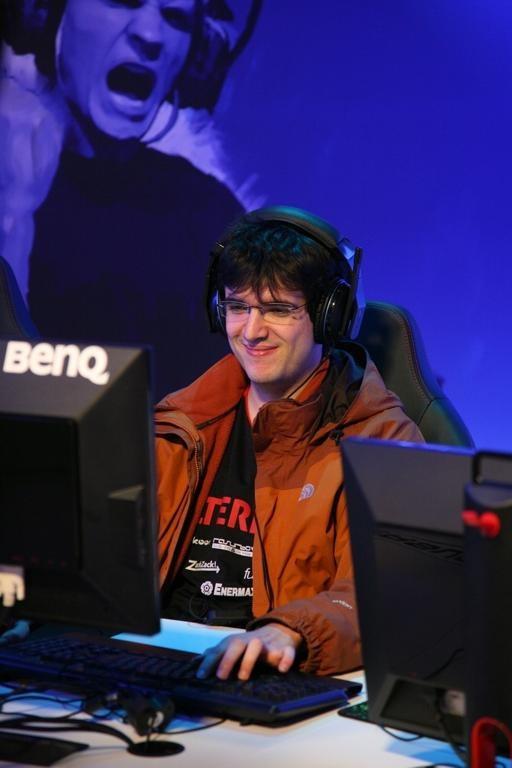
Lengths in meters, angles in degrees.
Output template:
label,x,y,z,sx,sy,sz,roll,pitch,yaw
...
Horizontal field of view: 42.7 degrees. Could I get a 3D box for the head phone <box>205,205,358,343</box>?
label,x,y,z,sx,sy,sz,roll,pitch,yaw
head phone,0.051,-0.249,1.537,0.365,0.314,0.134,3,14,17
